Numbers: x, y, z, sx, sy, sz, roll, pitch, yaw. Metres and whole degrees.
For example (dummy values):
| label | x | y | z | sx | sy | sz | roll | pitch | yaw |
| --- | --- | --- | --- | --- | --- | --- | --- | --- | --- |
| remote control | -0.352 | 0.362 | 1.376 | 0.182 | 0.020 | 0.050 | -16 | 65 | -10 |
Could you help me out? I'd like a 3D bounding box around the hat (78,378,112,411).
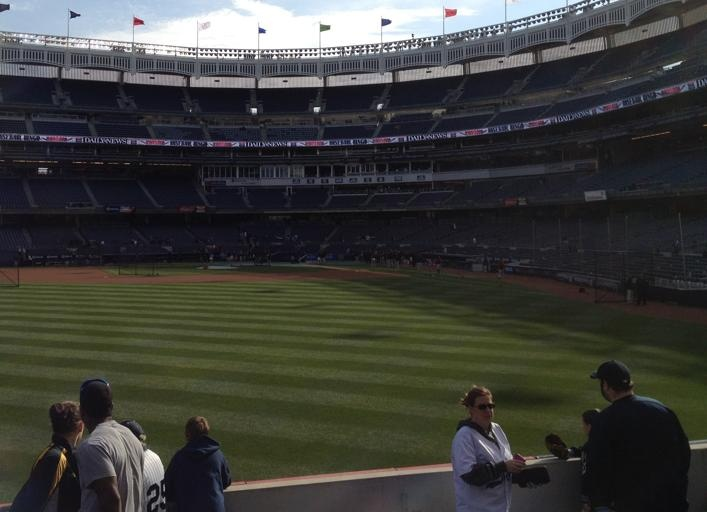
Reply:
| label | x | y | z | sx | sy | sz | roll | pitch | yaw |
| --- | --- | --- | --- | --- | --- | --- | --- | --- | --- |
| hat | -7.924 | 4.153 | 23.936 | 0.810 | 0.524 | 1.075 | 6 | 3 | -44 |
